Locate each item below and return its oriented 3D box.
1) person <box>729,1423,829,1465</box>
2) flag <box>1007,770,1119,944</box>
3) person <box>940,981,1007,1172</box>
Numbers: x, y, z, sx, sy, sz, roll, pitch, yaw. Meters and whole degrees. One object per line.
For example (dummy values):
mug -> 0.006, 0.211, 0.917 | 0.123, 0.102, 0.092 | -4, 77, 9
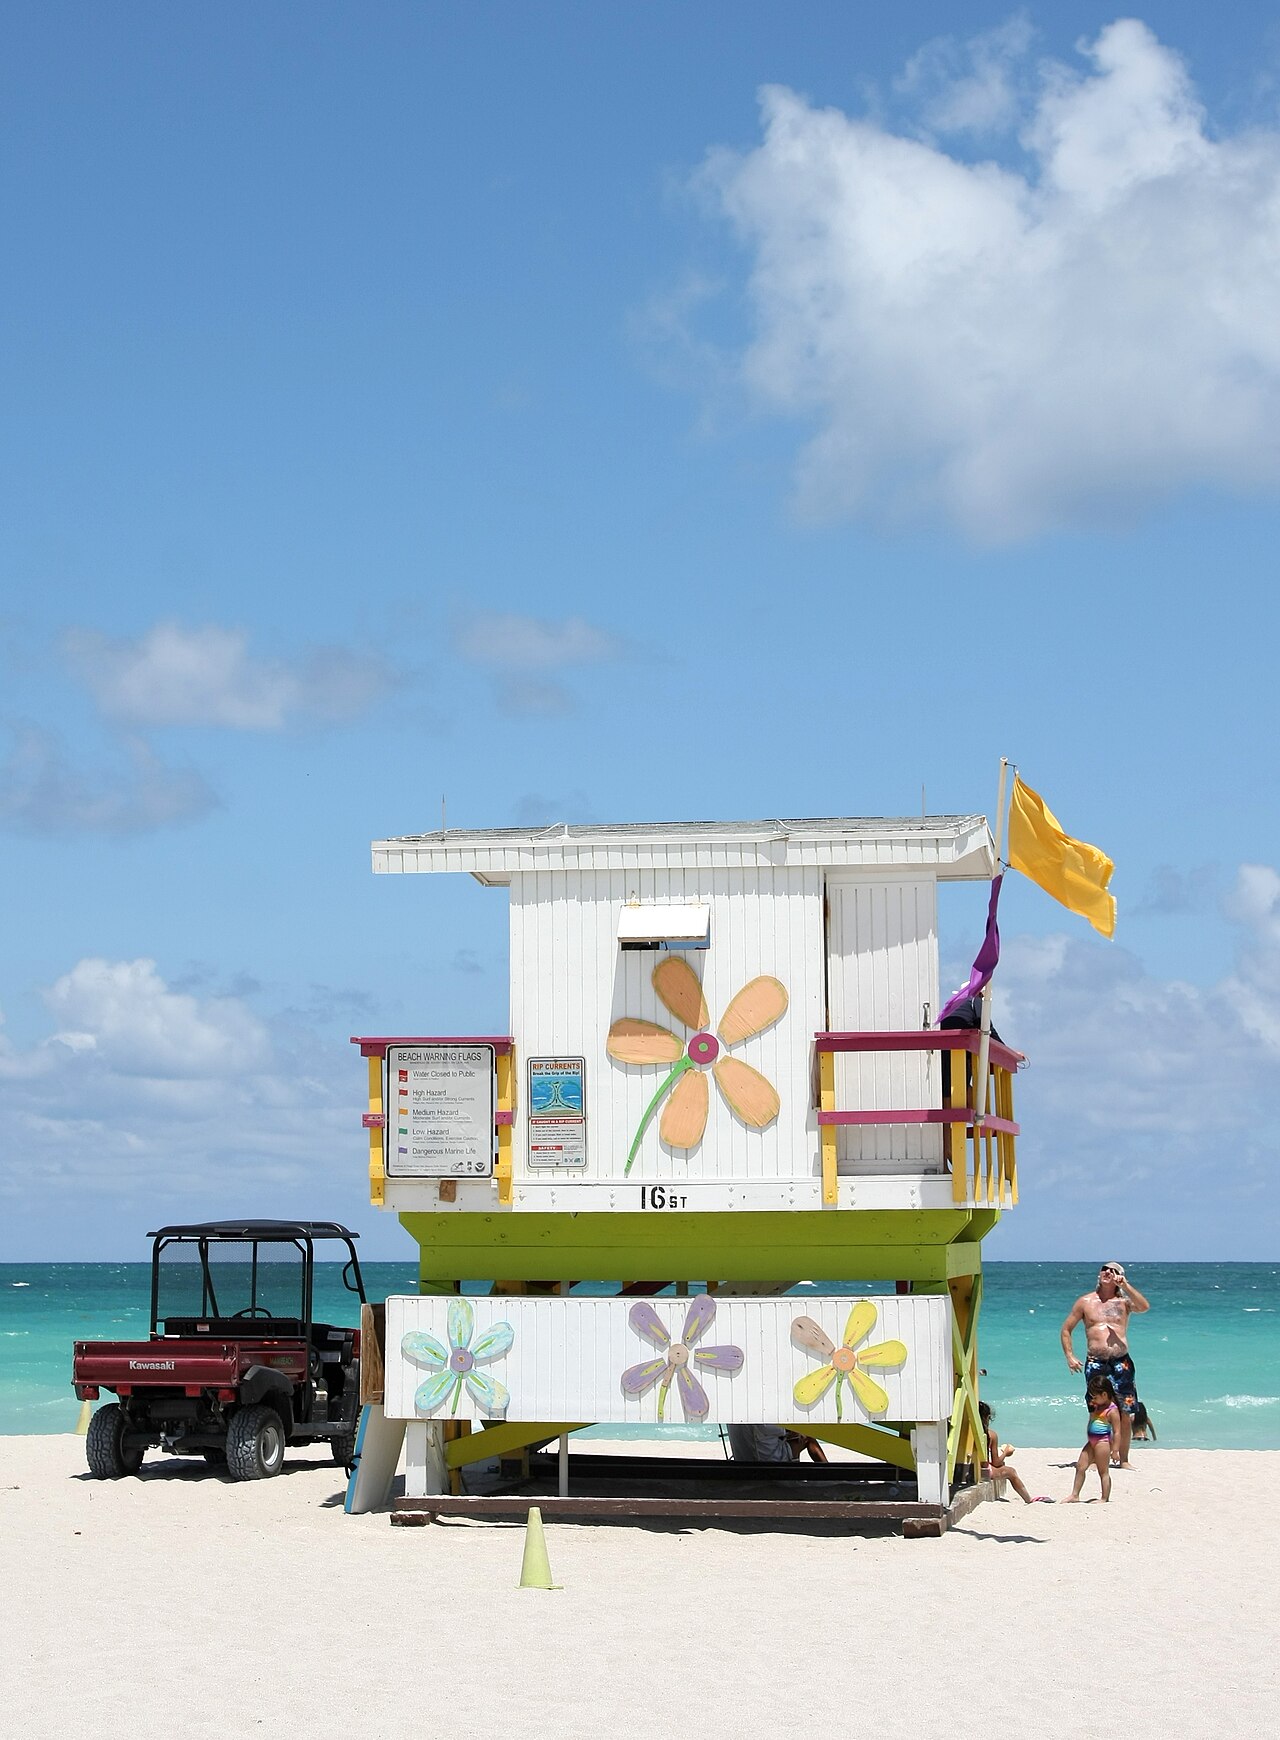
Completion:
person -> 1.060, 4.547, 22.023 | 0.708, 0.342, 1.453 | 0, -7, 1
flag -> 2.624, -0.084, 17.516 | 0.924, 1.185, 0.158 | 7, 19, -1
person -> 2.231, 1.404, 18.976 | 0.410, 1.222, 1.316 | -1, -7, 7
